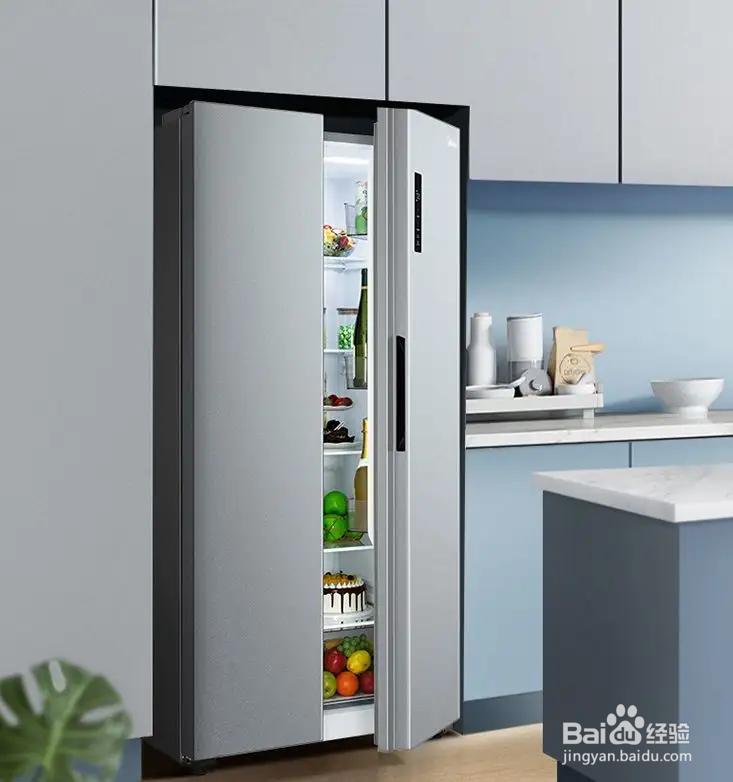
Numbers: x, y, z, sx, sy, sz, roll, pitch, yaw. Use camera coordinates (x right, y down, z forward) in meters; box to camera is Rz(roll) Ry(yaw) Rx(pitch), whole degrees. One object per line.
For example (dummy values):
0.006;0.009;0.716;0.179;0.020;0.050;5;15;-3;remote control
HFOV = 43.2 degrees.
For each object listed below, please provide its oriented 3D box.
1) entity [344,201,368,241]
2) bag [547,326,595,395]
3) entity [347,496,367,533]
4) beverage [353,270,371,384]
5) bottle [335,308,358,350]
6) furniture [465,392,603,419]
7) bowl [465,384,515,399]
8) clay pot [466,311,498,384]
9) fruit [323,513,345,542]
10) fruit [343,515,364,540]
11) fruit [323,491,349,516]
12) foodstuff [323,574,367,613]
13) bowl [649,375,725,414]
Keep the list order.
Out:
-0.026;-0.474;2.593;0.061;0.117;0.102;-2;5;-38;entity
0.665;-0.098;2.957;0.119;0.243;0.084;-3;27;14;bag
-0.042;0.329;2.550;0.071;0.096;0.076;0;-3;-13;entity
-0.006;-0.170;2.594;0.061;0.335;0.062;5;6;42;beverage
-0.054;-0.177;2.635;0.084;0.157;0.091;0;-5;0;bottle
0.490;0.048;2.794;0.473;0.066;0.150;-3;1;-19;furniture
0.368;0.001;2.756;0.138;0.033;0.133;-3;1;0;bowl
0.358;-0.130;2.895;0.087;0.191;0.137;-2;1;10;clay pot
-0.077;0.370;2.542;0.060;0.086;0.071;4;-18;2;fruit
-0.031;0.369;2.571;0.052;0.049;0.064;2;0;-10;fruit
-0.078;0.300;2.566;0.053;0.062;0.073;3;46;10;fruit
-0.060;0.525;2.527;0.100;0.075;0.109;1;-2;-6;foodstuff
1.050;0.016;3.036;0.217;0.088;0.127;-2;1;17;bowl
